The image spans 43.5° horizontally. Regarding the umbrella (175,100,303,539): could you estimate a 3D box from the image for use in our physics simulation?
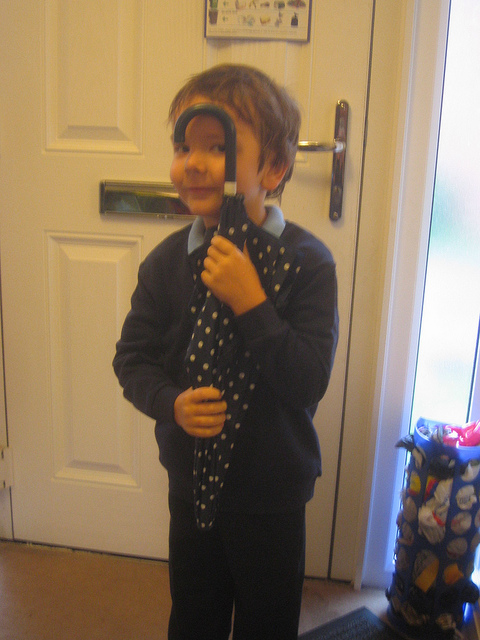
[{"bbox_3d":[-0.003,0.032,0.754,0.153,0.569,0.134,0,9,-8],"label":"umbrella"}]

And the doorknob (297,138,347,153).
[{"bbox_3d":[0.155,-0.330,1.129,0.093,0.028,0.067,4,13,8],"label":"doorknob"}]

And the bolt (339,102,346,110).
[{"bbox_3d":[0.192,-0.405,1.132,0.012,0.013,0.003,0,9,-9],"label":"bolt"}]

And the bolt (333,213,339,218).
[{"bbox_3d":[0.186,-0.206,1.177,0.009,0.009,0.003,4,10,12],"label":"bolt"}]
